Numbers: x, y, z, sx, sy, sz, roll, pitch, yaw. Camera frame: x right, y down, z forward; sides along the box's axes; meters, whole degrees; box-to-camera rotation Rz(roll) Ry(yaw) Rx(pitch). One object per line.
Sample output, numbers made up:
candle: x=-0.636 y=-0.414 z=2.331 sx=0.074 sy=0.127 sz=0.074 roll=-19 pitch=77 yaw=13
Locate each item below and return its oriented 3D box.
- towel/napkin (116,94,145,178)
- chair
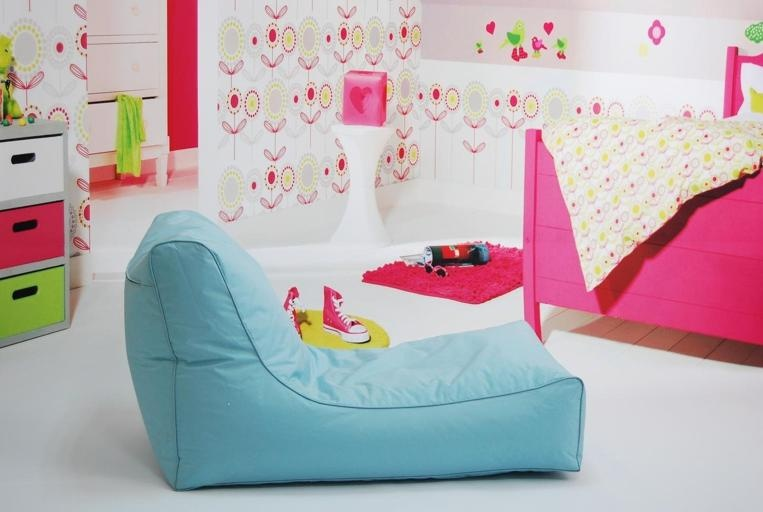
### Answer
towel/napkin: x=-2.075 y=-1.000 z=4.777 sx=0.175 sy=0.660 sz=0.313 roll=10 pitch=17 yaw=43
chair: x=-0.126 y=0.199 z=2.054 sx=1.283 sy=0.813 sz=0.832 roll=-2 pitch=7 yaw=-9
